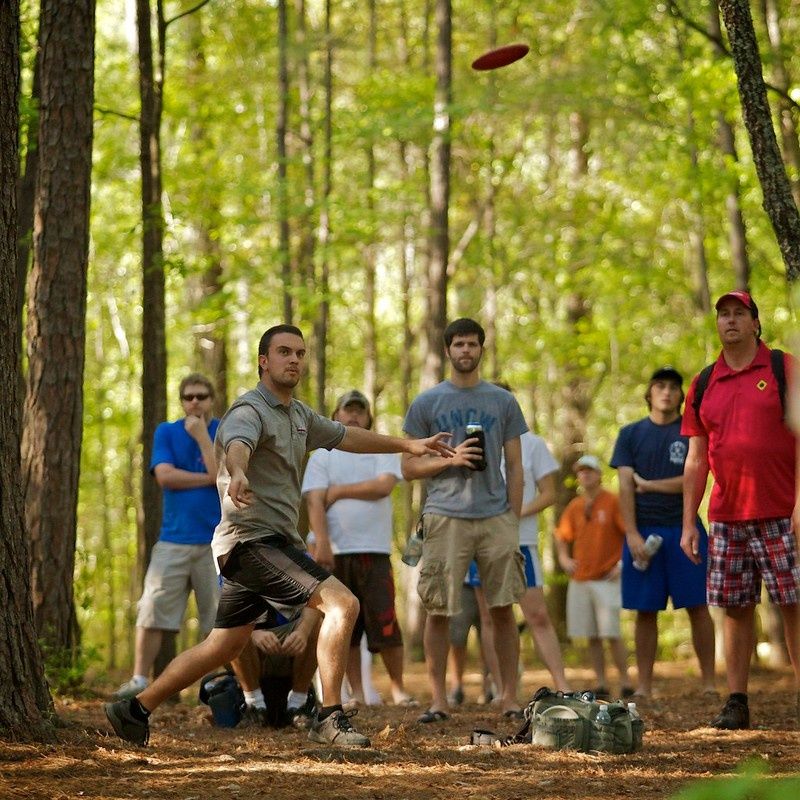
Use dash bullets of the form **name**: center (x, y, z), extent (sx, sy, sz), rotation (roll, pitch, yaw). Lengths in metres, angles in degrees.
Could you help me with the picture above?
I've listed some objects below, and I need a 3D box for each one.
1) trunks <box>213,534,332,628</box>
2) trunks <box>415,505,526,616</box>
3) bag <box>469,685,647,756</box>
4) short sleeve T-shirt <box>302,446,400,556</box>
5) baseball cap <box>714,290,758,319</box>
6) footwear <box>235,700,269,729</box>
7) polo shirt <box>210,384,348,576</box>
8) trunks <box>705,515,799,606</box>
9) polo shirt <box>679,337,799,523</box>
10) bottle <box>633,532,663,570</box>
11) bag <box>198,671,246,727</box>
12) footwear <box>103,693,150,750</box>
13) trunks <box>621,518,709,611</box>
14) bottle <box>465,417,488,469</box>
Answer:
- **trunks**: center (-0.838, 1.294, 12.025), extent (1.043, 0.614, 0.569), rotation (-17, -17, 33)
- **trunks**: center (0.551, 1.167, 13.129), extent (0.857, 0.882, 0.343), rotation (-5, 7, -7)
- **bag**: center (1.223, 2.273, 12.242), extent (0.799, 0.322, 0.589), rotation (-2, -9, 20)
- **short sleeve T-shirt**: center (-0.405, 0.818, 14.127), extent (0.783, 0.947, 0.493), rotation (-2, -21, -2)
- **baseball cap**: center (2.495, -0.706, 12.803), extent (0.290, 0.289, 0.662), rotation (-3, -6, 10)
- **footwear**: center (-1.096, 2.406, 13.036), extent (0.244, 0.248, 0.123), rotation (-7, -11, 28)
- **polo shirt**: center (-0.876, 0.635, 12.581), extent (0.493, 0.862, 1.529), rotation (0, -5, 17)
- **trunks**: center (2.576, 1.155, 12.490), extent (0.585, 0.576, 0.330), rotation (-5, -14, 25)
- **polo shirt**: center (2.485, 0.246, 12.593), extent (0.266, 1.290, 0.792), rotation (3, -7, -45)
- **bottle**: center (2.037, 1.246, 14.102), extent (0.240, 0.296, 0.114), rotation (-3, -5, 15)
- **bag**: center (-1.318, 2.294, 13.212), extent (0.310, 0.401, 0.429), rotation (-13, -10, 40)
- **footwear**: center (-1.895, 2.247, 11.997), extent (0.294, 0.350, 0.190), rotation (-1, -5, -12)
- **trunks**: center (2.169, 1.331, 13.946), extent (0.732, 0.715, 0.426), rotation (-3, -9, 22)
- **bottle**: center (0.578, 0.337, 12.925), extent (0.146, 0.384, 0.363), rotation (-2, -6, 3)
